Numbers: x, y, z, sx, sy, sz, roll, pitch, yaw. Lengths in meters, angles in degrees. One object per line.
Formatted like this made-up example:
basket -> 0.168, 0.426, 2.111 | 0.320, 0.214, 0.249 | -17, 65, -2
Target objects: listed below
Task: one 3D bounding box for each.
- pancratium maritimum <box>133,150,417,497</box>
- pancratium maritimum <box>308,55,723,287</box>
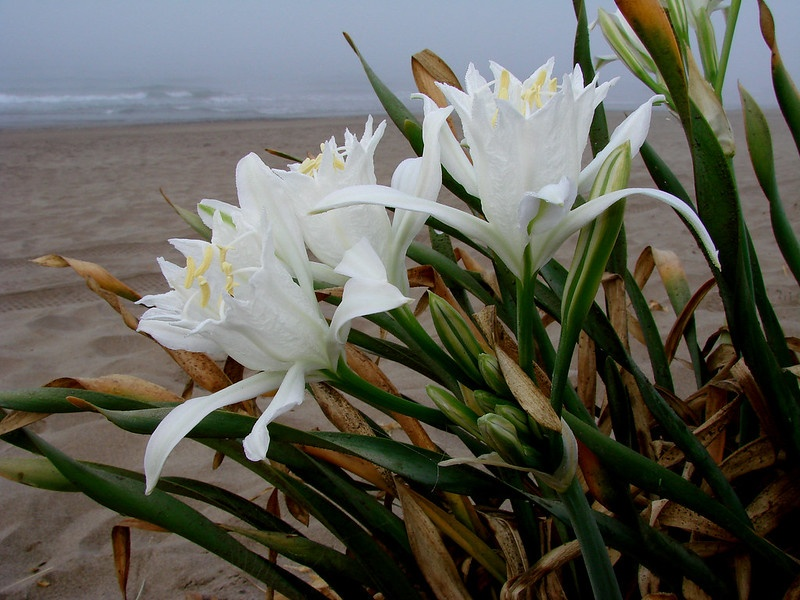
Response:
pancratium maritimum -> -0.129, 0.018, 0.704 | 0.296, 0.166, 0.285 | -8, 0, 9
pancratium maritimum -> 0.138, -0.128, 0.722 | 0.407, 0.306, 0.317 | -4, 24, 11
